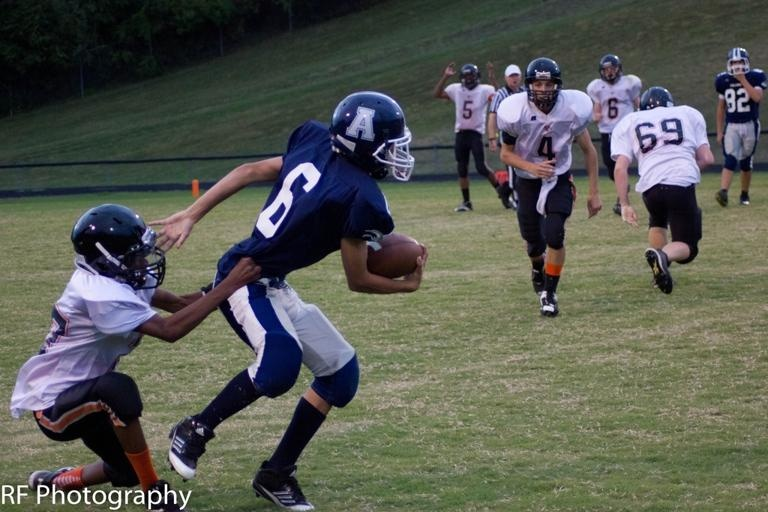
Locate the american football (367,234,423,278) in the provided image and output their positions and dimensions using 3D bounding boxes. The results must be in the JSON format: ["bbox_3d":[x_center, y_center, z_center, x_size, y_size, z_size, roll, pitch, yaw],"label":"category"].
[{"bbox_3d":[0.114,0.032,15.025,0.826,0.277,0.352,-1,39,2],"label":"american football"}]

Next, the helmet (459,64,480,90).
[{"bbox_3d":[1.521,-3.134,22.960,0.428,0.388,0.478,-1,5,10],"label":"helmet"}]

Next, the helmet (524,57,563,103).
[{"bbox_3d":[2.114,-2.334,17.407,0.541,0.524,0.624,0,3,3],"label":"helmet"}]

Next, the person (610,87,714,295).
[{"bbox_3d":[3.792,-0.868,17.549,1.318,2.713,1.292,-5,11,9],"label":"person"}]

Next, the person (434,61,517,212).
[{"bbox_3d":[1.649,-2.082,23.155,1.182,2.564,1.369,0,3,6],"label":"person"}]

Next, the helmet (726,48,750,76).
[{"bbox_3d":[5.729,-3.143,21.190,0.431,0.402,0.568,0,7,21],"label":"helmet"}]

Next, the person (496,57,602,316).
[{"bbox_3d":[2.233,-0.934,17.389,1.248,3.349,0.788,-6,11,4],"label":"person"}]

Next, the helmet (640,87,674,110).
[{"bbox_3d":[3.792,-2.142,17.861,0.341,0.306,0.402,10,11,33],"label":"helmet"}]

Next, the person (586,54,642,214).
[{"bbox_3d":[3.663,-2.118,22.031,1.133,2.451,1.164,0,3,6],"label":"person"}]
